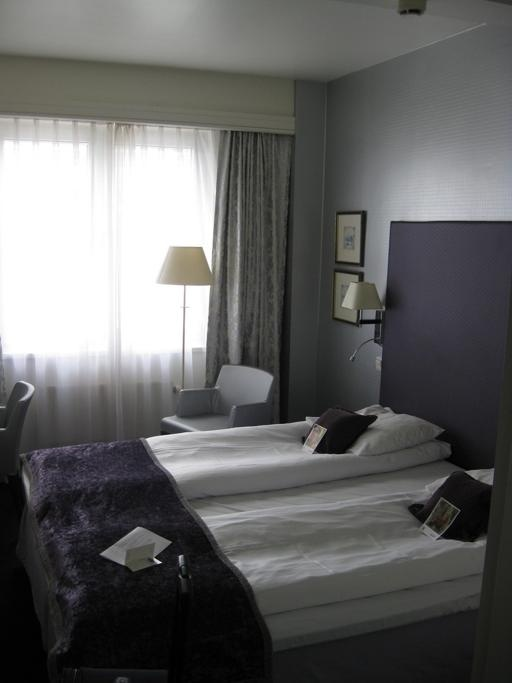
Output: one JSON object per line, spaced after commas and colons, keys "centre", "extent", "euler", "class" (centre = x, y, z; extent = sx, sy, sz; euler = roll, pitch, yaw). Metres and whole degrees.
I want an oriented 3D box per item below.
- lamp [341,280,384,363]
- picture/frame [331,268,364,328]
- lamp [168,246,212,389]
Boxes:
{"centre": [0.795, -0.134, 3.744], "extent": [0.243, 0.613, 0.257], "euler": [-4, 14, -2], "class": "lamp"}
{"centre": [0.755, -0.353, 4.172], "extent": [0.038, 0.476, 0.414], "euler": [-1, 11, -19], "class": "picture/frame"}
{"centre": [-0.591, -0.158, 4.518], "extent": [0.377, 1.315, 0.572], "euler": [0, 6, -11], "class": "lamp"}
